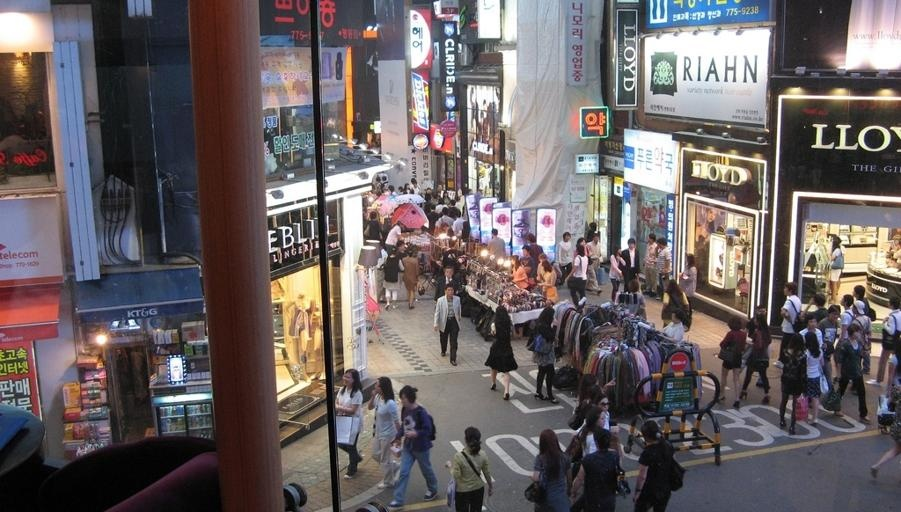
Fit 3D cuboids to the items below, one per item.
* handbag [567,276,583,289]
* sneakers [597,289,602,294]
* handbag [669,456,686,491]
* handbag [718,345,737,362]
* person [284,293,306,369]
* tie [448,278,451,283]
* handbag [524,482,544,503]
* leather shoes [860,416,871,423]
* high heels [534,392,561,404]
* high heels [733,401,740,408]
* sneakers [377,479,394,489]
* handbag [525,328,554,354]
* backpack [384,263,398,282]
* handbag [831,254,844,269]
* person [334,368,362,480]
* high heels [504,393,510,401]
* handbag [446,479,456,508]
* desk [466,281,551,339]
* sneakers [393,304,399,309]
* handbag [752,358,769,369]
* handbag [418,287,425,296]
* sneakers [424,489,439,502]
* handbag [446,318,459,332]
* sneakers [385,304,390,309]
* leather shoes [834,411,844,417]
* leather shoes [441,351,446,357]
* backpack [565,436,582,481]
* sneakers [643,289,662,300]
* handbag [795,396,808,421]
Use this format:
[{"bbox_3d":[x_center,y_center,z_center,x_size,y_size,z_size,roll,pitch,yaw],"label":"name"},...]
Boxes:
[{"bbox_3d":[3.124,0.663,16.959,0.432,0.259,0.293,5,-5,5],"label":"handbag"},{"bbox_3d":[4.004,0.940,18.289,0.119,0.134,0.154,-6,-23,16],"label":"sneakers"},{"bbox_3d":[3.242,3.099,9.725,0.132,0.517,0.294,2,9,31],"label":"handbag"},{"bbox_3d":[5.131,1.791,12.578,0.378,0.394,0.166,1,-8,18],"label":"handbag"},{"bbox_3d":[-2.635,1.288,11.786,0.363,1.226,0.796,-4,8,-13],"label":"person"},{"bbox_3d":[-0.028,0.570,15.963,0.063,0.090,0.026,-2,0,-16],"label":"tie"},{"bbox_3d":[1.153,3.264,9.442,0.280,0.306,0.149,5,11,43],"label":"handbag"},{"bbox_3d":[7.526,2.961,12.356,0.189,0.082,0.080,2,5,37],"label":"leather shoes"},{"bbox_3d":[1.896,2.797,13.443,0.519,0.227,0.178,-4,-3,18],"label":"high heels"},{"bbox_3d":[5.417,2.786,12.836,0.082,0.121,0.170,1,15,6],"label":"high heels"},{"bbox_3d":[-1.063,3.674,11.048,0.269,0.135,0.094,1,9,26],"label":"sneakers"},{"bbox_3d":[1.764,1.614,13.263,0.679,0.449,0.608,4,1,21],"label":"handbag"},{"bbox_3d":[-1.566,0.408,17.922,0.472,0.540,0.287,1,8,1],"label":"backpack"},{"bbox_3d":[8.768,0.117,15.457,0.280,0.273,0.156,-3,15,-12],"label":"handbag"},{"bbox_3d":[-1.653,2.749,11.168,0.406,1.899,0.492,-4,8,-12],"label":"person"},{"bbox_3d":[1.130,2.782,13.563,0.134,0.133,0.140,-5,9,-19],"label":"high heels"},{"bbox_3d":[0.018,3.393,9.774,0.126,0.429,0.171,-3,8,-2],"label":"handbag"},{"bbox_3d":[1.394,1.306,15.916,1.513,0.475,1.048,-5,17,-14],"label":"desk"},{"bbox_3d":[-1.490,1.359,18.383,0.106,0.091,0.266,1,-2,-9],"label":"sneakers"},{"bbox_3d":[5.774,1.996,12.688,0.190,0.191,0.046,6,4,1],"label":"handbag"},{"bbox_3d":[-0.822,0.983,19.171,0.165,0.218,0.215,-2,-7,7],"label":"handbag"},{"bbox_3d":[-0.307,3.815,10.864,0.239,0.103,0.102,2,0,-34],"label":"sneakers"},{"bbox_3d":[0.032,1.516,15.072,0.294,0.356,0.191,1,3,-1],"label":"handbag"},{"bbox_3d":[-1.688,1.353,18.338,0.070,0.143,0.135,25,-8,-17],"label":"sneakers"},{"bbox_3d":[7.094,2.877,12.447,0.152,0.149,0.073,-2,19,8],"label":"leather shoes"},{"bbox_3d":[-0.151,2.242,15.560,0.106,0.159,0.095,0,1,14],"label":"leather shoes"},{"bbox_3d":[1.840,2.957,10.136,0.213,0.454,0.868,-1,9,9],"label":"backpack"},{"bbox_3d":[5.259,1.023,17.705,0.159,0.206,0.473,-4,5,-35],"label":"sneakers"},{"bbox_3d":[6.259,2.711,12.124,0.149,0.557,0.387,2,10,32],"label":"handbag"}]
